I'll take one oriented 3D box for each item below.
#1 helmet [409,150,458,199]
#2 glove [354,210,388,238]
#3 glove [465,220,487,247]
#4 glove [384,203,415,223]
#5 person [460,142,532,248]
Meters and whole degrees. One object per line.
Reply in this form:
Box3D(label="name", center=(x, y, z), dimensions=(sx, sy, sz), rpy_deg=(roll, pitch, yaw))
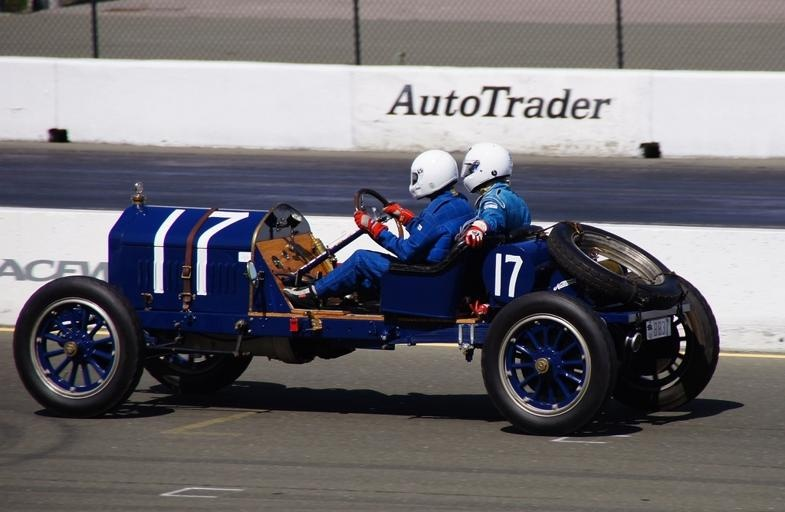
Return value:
Box3D(label="helmet", center=(0.452, -0.937, 17.910), dimensions=(0.699, 0.436, 0.506), rpy_deg=(-1, 6, 24))
Box3D(label="glove", center=(-0.270, -0.361, 17.670), dimensions=(0.423, 0.158, 0.242), rpy_deg=(30, 43, 7))
Box3D(label="glove", center=(0.924, -0.249, 17.388), dimensions=(0.215, 0.117, 0.333), rpy_deg=(12, 24, 10))
Box3D(label="glove", center=(0.065, -0.463, 17.927), dimensions=(0.329, 0.107, 0.226), rpy_deg=(22, 26, 3))
Box3D(label="person", center=(1.185, -0.771, 18.312), dimensions=(0.880, 1.140, 1.887), rpy_deg=(3, 27, 6))
